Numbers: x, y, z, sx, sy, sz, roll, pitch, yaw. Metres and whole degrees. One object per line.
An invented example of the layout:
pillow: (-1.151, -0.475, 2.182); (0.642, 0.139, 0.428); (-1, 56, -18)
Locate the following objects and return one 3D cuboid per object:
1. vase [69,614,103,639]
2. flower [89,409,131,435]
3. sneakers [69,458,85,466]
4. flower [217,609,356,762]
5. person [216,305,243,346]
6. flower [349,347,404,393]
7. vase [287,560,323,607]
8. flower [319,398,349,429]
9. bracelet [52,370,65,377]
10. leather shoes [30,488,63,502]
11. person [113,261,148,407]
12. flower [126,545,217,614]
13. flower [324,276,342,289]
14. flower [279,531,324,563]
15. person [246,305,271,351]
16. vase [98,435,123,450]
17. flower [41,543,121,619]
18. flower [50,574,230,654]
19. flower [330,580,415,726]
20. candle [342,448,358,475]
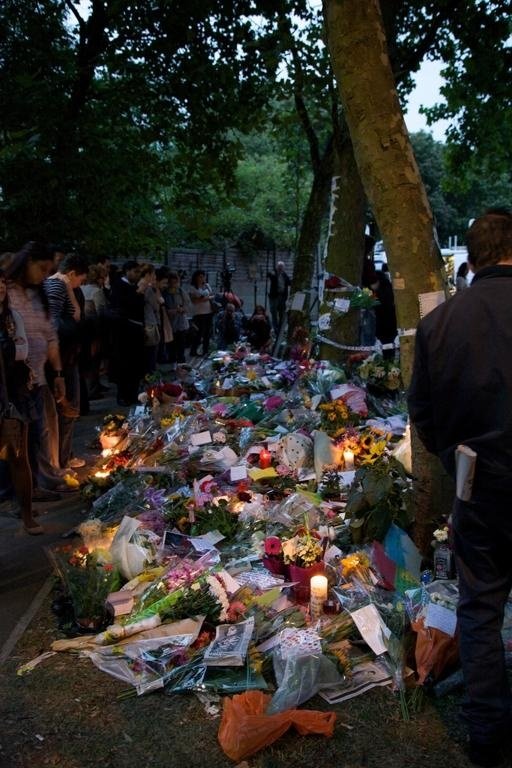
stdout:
vase: (-0.831, 1.180, 2.702); (0.098, 0.067, 0.086); (-4, -13, 17)
flower: (-1.635, 0.427, 6.239); (0.224, 0.155, 0.201); (-6, 15, 40)
sneakers: (-1.732, 0.756, 5.414); (0.062, 0.055, 0.127); (-1, -4, 0)
flower: (0.093, 1.062, 2.005); (0.282, 0.108, 0.274); (-7, 25, -30)
person: (-0.501, -1.152, 10.786); (0.475, 0.815, 1.320); (2, 9, -2)
flower: (1.296, -0.094, 5.905); (0.523, 0.347, 0.486); (-14, 38, -4)
vase: (0.239, 0.999, 2.802); (0.174, 0.203, 0.202); (0, -3, -2)
flower: (0.663, 0.245, 4.521); (0.226, 0.228, 0.217); (-2, -1, 24)
bracelet: (-1.622, -0.094, 4.571); (0.059, 0.042, 0.060); (13, 18, 34)
leather shoes: (-1.748, 0.926, 4.620); (0.121, 0.064, 0.153); (2, -3, 6)
person: (-1.742, -0.705, 7.760); (0.410, 2.021, 0.604); (5, 10, 18)
flower: (-0.425, 1.012, 2.899); (0.285, 0.118, 0.210); (-21, 28, -14)
flower: (0.999, -1.316, 7.215); (0.205, 0.199, 0.147); (-18, 20, 5)
flower: (0.245, 0.862, 2.871); (0.172, 0.105, 0.170); (6, 1, 14)
person: (0.039, -1.003, 9.968); (0.412, 0.797, 0.729); (3, 9, 6)
vase: (-1.418, 0.561, 5.440); (0.184, 0.123, 0.159); (-1, -3, 18)
flower: (-0.905, 0.999, 2.911); (0.315, 0.318, 0.312); (-2, 1, 0)
flower: (-0.557, 1.092, 2.691); (0.775, 0.319, 0.268); (-15, 25, -19)
flower: (0.507, 1.097, 2.342); (0.237, 0.313, 0.115); (21, -42, -38)
candle: (0.669, 0.543, 3.891); (0.119, 0.197, 0.118); (-4, 7, 21)
